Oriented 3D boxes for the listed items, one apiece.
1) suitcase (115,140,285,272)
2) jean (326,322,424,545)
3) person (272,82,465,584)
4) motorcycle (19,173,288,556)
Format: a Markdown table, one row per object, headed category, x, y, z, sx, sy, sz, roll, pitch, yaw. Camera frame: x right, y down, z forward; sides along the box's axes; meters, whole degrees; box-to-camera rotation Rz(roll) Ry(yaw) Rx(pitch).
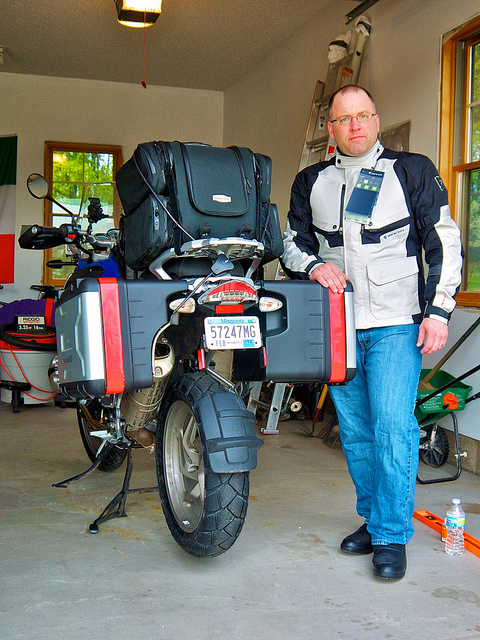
| category | x | y | z | sx | sy | sz | roll | pitch | yaw |
| --- | --- | --- | --- | --- | --- | --- | --- | --- | --- |
| suitcase | -0.117 | -0.356 | 1.770 | 0.598 | 0.455 | 0.395 | -1 | 5 | -17 |
| jean | 0.457 | 0.342 | 1.788 | 0.240 | 0.665 | 0.314 | -2 | 4 | -4 |
| person | 0.428 | -0.010 | 1.820 | 0.427 | 1.517 | 0.554 | -3 | 4 | -21 |
| motorcycle | -0.215 | 0.117 | 2.240 | 0.814 | 1.055 | 1.717 | 3 | 5 | -24 |
